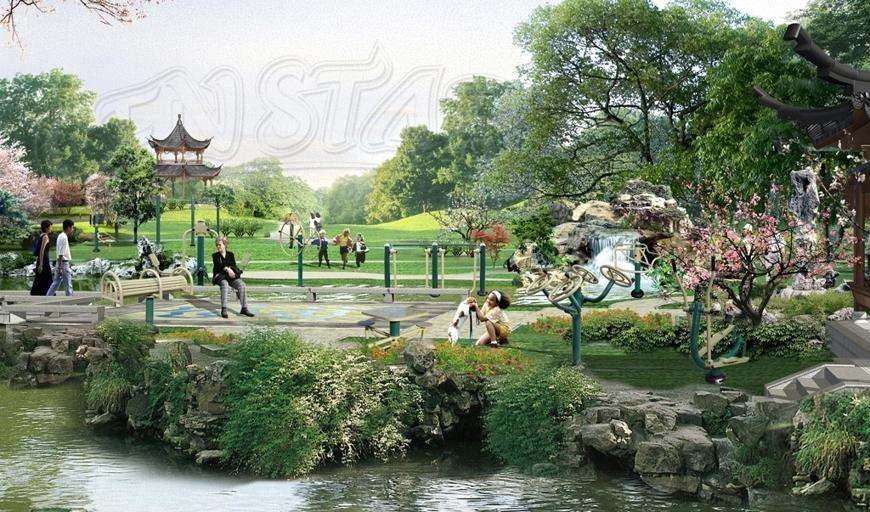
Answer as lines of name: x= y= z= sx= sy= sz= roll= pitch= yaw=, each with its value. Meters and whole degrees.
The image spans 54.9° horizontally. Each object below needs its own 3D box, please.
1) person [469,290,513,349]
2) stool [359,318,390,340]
person: x=1.684 y=1.848 z=24.916 sx=1.013 sy=1.659 sz=0.858 roll=-1 pitch=-1 yaw=2
stool: x=-1.888 y=2.228 z=25.628 sx=0.589 sy=0.270 sz=0.915 roll=-2 pitch=9 yaw=-14
